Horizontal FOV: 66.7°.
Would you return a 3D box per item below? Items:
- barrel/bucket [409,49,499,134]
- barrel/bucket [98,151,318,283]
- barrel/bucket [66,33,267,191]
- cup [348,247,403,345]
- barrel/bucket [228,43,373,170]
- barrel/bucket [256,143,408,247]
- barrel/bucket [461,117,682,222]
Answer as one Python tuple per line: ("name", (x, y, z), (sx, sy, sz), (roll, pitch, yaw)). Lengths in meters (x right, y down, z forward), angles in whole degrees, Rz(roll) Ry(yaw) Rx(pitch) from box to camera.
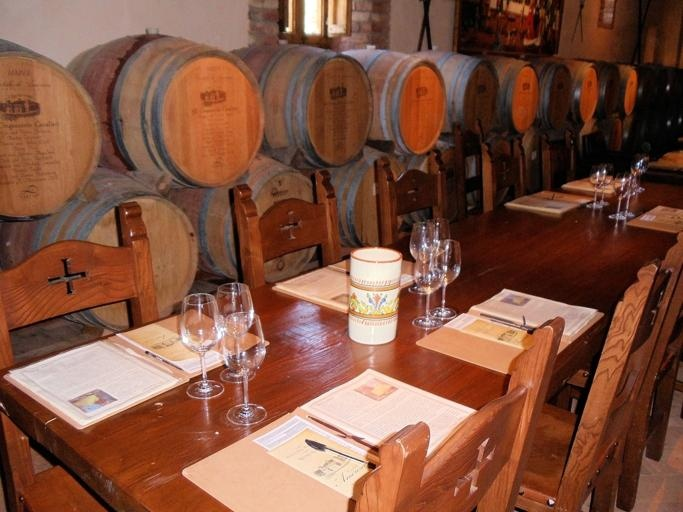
("barrel/bucket", (1.042, -1.404, 4.773), (0.727, 0.793, 1.016), (-9, 18, -31))
("barrel/bucket", (-0.782, -0.292, 3.161), (0.773, 0.865, 1.102), (-9, 15, -21))
("barrel/bucket", (-0.866, -0.683, 2.975), (0.841, 0.897, 1.190), (2, 9, -35))
("cup", (0.088, 0.114, 1.402), (0.161, 0.270, 0.166), (0, 20, 0))
("barrel/bucket", (-0.194, -0.885, 3.506), (0.781, 0.835, 1.090), (-3, 14, -32))
("barrel/bucket", (-0.009, -0.422, 3.892), (0.743, 0.844, 1.053), (-8, 12, -17))
("barrel/bucket", (1.728, -0.697, 4.080), (1.020, 0.534, 1.437), (-23, 30, -38))
